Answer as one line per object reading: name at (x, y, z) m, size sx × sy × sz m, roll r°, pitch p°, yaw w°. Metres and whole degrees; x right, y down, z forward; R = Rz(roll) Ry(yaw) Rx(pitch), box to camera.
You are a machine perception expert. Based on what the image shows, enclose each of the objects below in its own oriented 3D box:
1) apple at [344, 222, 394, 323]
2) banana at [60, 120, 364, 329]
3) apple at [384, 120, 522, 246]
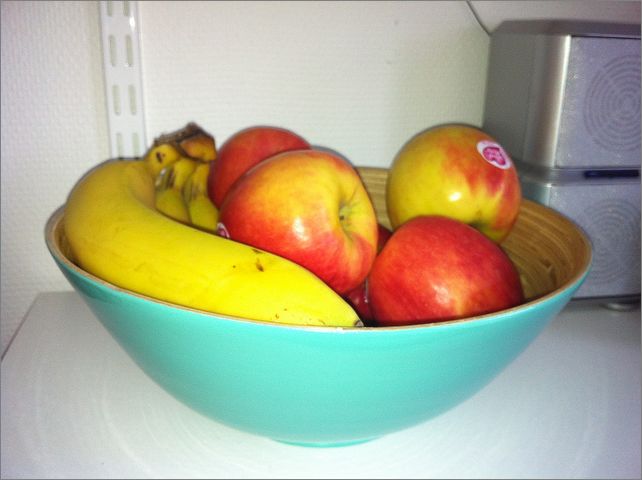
apple at (0.051, 0.037, 0.515) m, size 0.061 × 0.080 × 0.066 m, roll -22°, pitch 20°, yaw 0°
banana at (-0.108, -0.010, 0.520) m, size 0.288 × 0.232 × 0.082 m, roll 8°, pitch -30°, yaw 14°
apple at (0.202, -0.064, 0.632) m, size 0.116 × 0.146 × 0.137 m, roll -12°, pitch -40°, yaw 30°
